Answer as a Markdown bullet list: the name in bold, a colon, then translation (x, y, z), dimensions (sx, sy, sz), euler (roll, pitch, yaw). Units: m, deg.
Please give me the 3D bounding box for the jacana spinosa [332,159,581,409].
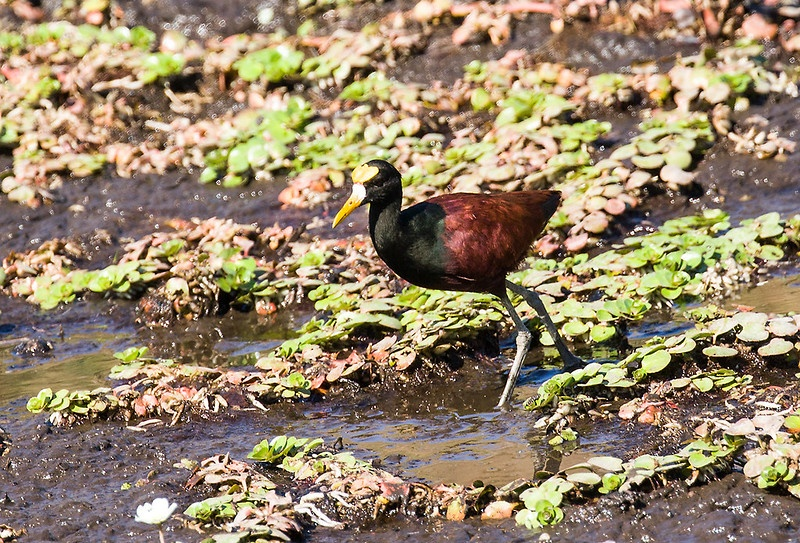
- **jacana spinosa**: translation (0.552, -0.129, 6.714), dimensions (1.588, 1.661, 0.883), euler (-22, 22, -31)
